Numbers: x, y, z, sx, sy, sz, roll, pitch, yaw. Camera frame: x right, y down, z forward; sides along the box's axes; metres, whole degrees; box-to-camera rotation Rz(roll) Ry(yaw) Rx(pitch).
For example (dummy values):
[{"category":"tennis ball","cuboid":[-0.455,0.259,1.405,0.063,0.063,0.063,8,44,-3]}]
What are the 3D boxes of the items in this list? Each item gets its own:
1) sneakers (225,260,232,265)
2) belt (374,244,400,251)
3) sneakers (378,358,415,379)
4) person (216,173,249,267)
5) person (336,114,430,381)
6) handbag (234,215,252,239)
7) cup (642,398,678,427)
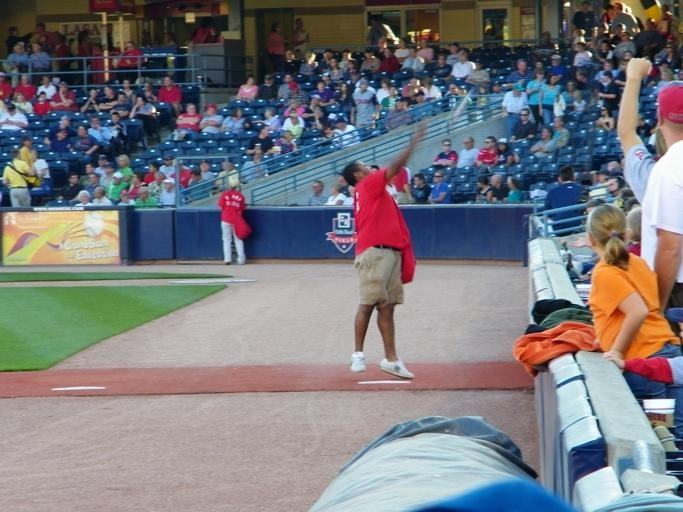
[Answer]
[{"category":"sneakers","cuboid":[-2.246,0.123,23.458,0.106,0.086,0.260,-3,5,-32]},{"category":"belt","cuboid":[0.516,-0.090,13.071,0.303,0.082,0.048,-6,9,-27]},{"category":"sneakers","cuboid":[0.601,1.229,12.865,0.459,0.143,0.151,16,2,1]},{"category":"person","cuboid":[-2.097,-0.732,23.254,0.595,1.814,0.580,-5,10,-4]},{"category":"person","cuboid":[0.475,-0.073,13.104,0.949,2.775,1.220,-4,10,0]},{"category":"handbag","cuboid":[-1.937,-0.564,23.267,0.290,0.518,0.543,-3,8,7]},{"category":"cup","cuboid":[2.574,1.279,9.553,0.259,0.210,0.229,-1,8,12]}]
